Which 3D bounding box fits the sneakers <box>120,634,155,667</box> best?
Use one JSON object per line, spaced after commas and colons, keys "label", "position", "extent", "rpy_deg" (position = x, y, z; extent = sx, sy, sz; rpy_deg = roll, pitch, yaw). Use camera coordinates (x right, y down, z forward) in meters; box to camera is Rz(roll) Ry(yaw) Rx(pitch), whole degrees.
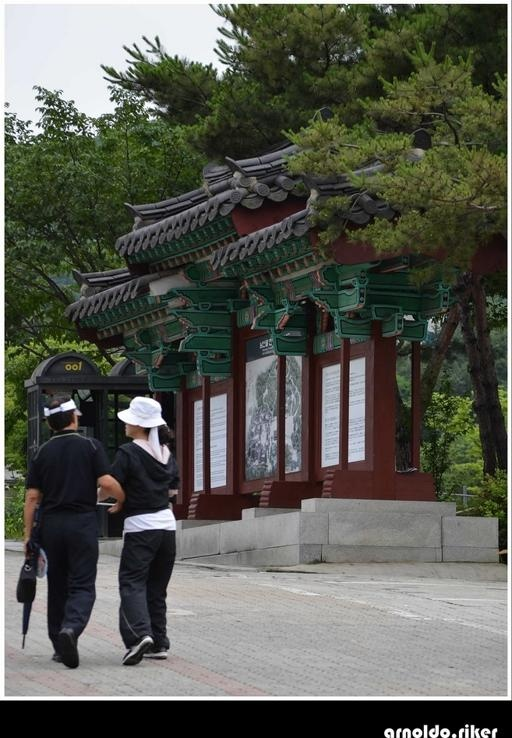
{"label": "sneakers", "position": [-0.739, 1.769, 6.181], "extent": [0.112, 0.295, 0.124], "rpy_deg": [17, 29, -44]}

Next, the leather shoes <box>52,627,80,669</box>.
{"label": "leather shoes", "position": [-1.181, 1.723, 6.088], "extent": [0.132, 0.285, 0.454], "rpy_deg": [-2, -4, -12]}

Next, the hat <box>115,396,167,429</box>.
{"label": "hat", "position": [-0.737, 0.283, 6.603], "extent": [0.225, 0.129, 0.252], "rpy_deg": [9, 10, 11]}

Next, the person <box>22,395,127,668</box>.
{"label": "person", "position": [-1.190, 1.028, 6.315], "extent": [0.533, 1.704, 0.643], "rpy_deg": [-5, -5, 34]}
